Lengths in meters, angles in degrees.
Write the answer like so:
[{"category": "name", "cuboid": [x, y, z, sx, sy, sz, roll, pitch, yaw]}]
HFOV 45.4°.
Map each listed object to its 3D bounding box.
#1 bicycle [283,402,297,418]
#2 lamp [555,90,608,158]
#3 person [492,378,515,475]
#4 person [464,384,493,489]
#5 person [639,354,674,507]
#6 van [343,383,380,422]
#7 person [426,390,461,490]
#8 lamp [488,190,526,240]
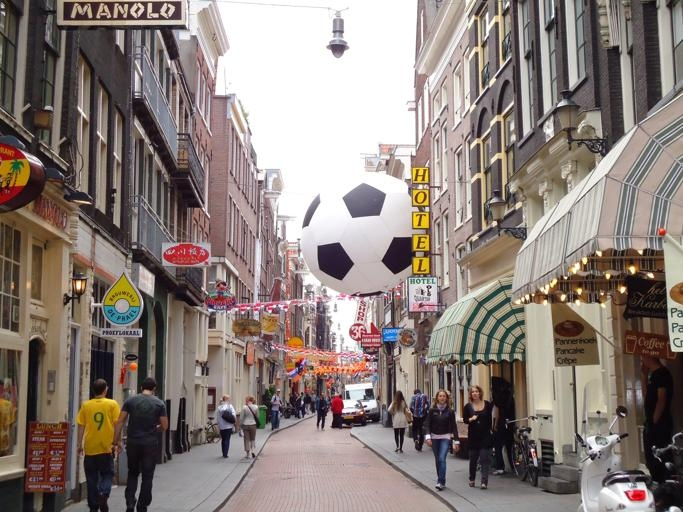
[{"category": "bicycle", "cuboid": [-4.230, 12.749, 67.309, 1.427, 1.095, 0.913, 21, -14, -22]}, {"category": "lamp", "cuboid": [4.243, -2.361, 14.911, 0.886, 1.664, 0.979, -1, -1, -14]}, {"category": "person", "cuboid": [4.030, 4.165, 20.310, 0.426, 2.415, 0.694, -4, -2, 2]}, {"category": "person", "cuboid": [2.947, 3.888, 17.593, 0.543, 2.177, 0.799, 1, -9, -7]}, {"category": "person", "cuboid": [4.888, 2.552, 12.841, 0.493, 2.205, 0.624, -1, 1, -2]}, {"category": "van", "cuboid": [1.271, 10.705, 56.556, 2.518, 3.593, 6.551, -1, -21, 0]}, {"category": "person", "cuboid": [2.255, 3.990, 17.859, 0.557, 2.098, 0.887, 0, -5, 3]}, {"category": "lamp", "cuboid": [3.962, -0.937, 19.580, 0.837, 1.353, 0.495, -4, -4, 21]}]
